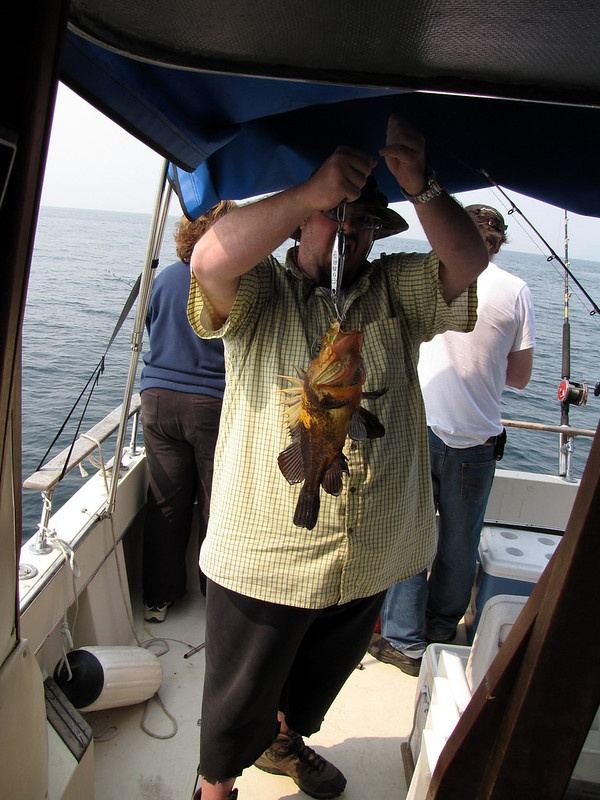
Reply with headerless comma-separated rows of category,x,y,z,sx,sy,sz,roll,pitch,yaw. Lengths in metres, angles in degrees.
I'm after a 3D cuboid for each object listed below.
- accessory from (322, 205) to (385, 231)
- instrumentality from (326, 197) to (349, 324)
accessory,0.127,-0.447,1.453,0.116,0.030,0.117,10,18,-38
instrumentality,0.083,-0.280,1.228,0.034,0.318,0.050,1,1,-8
